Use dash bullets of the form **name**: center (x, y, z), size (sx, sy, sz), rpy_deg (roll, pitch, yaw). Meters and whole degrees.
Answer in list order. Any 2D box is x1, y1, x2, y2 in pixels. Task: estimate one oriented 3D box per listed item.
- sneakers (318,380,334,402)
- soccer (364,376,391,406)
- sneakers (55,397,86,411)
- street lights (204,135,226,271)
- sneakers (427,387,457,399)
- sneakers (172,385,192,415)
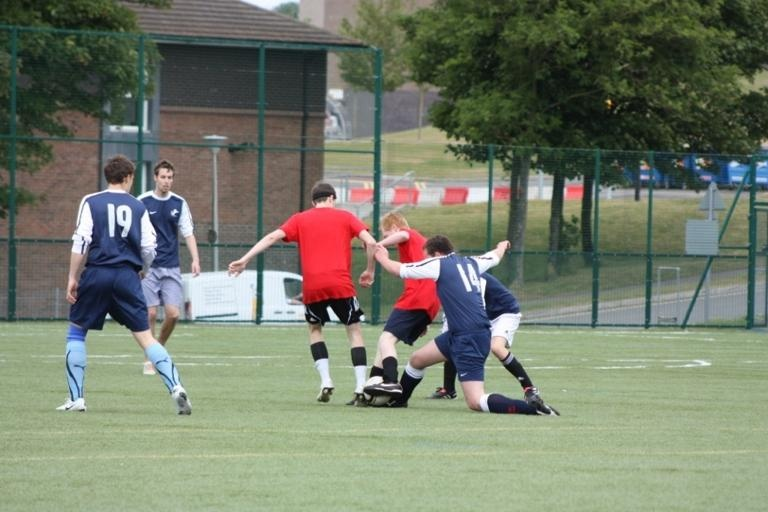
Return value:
- **sneakers**: center (-0.971, 2.310, 27.069), size (0.170, 0.450, 0.245), rpy_deg (6, 45, -10)
- **soccer**: center (-0.074, 2.300, 27.147), size (0.385, 0.474, 0.484), rpy_deg (13, 30, 36)
- **sneakers**: center (-5.185, 2.445, 26.526), size (0.549, 0.212, 0.203), rpy_deg (1, -2, 13)
- **street lights**: center (-3.781, -1.274, 35.990), size (0.460, 3.039, 0.898), rpy_deg (-1, 5, -7)
- **sneakers**: center (1.041, 2.373, 27.731), size (0.525, 0.216, 0.178), rpy_deg (2, -4, -5)
- **sneakers**: center (-3.335, 2.365, 26.383), size (0.214, 0.573, 0.267), rpy_deg (-25, 18, -16)
